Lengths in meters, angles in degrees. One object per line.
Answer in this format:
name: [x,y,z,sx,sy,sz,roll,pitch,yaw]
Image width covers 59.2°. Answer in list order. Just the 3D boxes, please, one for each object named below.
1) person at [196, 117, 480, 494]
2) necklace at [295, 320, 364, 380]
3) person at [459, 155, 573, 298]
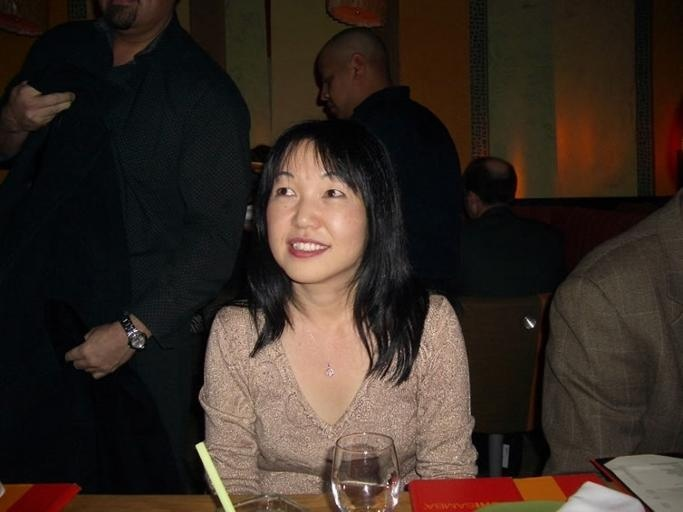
person: [-0.033,0.243,1.875,0.845,1.324,0.771,-1,7,10]
necklace: [-0.052,0.290,1.851,0.060,0.198,0.028,-20,-21,-19]
person: [0.810,-0.107,3.208,0.785,0.796,0.452,-6,6,-31]
